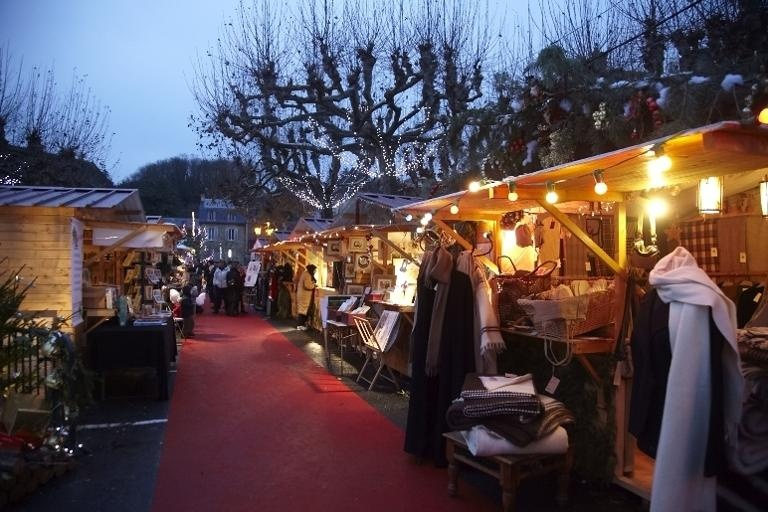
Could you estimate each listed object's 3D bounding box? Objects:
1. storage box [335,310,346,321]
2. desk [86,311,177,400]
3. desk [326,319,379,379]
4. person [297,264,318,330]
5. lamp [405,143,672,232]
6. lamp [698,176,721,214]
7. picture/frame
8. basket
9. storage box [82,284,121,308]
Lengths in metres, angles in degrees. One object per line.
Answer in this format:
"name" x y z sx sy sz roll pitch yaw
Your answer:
"storage box" -0.852 1.171 10.557 0.154 0.217 0.291 -2 2 -16
"desk" -4.164 1.642 9.009 1.039 1.099 1.860 -2 7 -16
"desk" -0.561 1.633 10.537 1.028 1.078 1.575 0 0 -14
"person" -2.335 1.183 16.295 0.593 1.877 0.684 0 4 -10
"lamp" 1.843 -0.805 6.818 1.647 0.741 4.224 -2 4 -35
"lamp" 3.691 -0.704 6.117 0.227 0.391 0.337 2 4 27
"picture/frame" -0.643 0.111 13.366 1.290 1.522 2.015 -3 -1 3
"basket" 2.101 0.500 6.010 0.891 0.344 0.679 -12 -3 -28
"storage box" -4.787 0.686 9.174 0.424 0.282 0.441 0 1 -2
